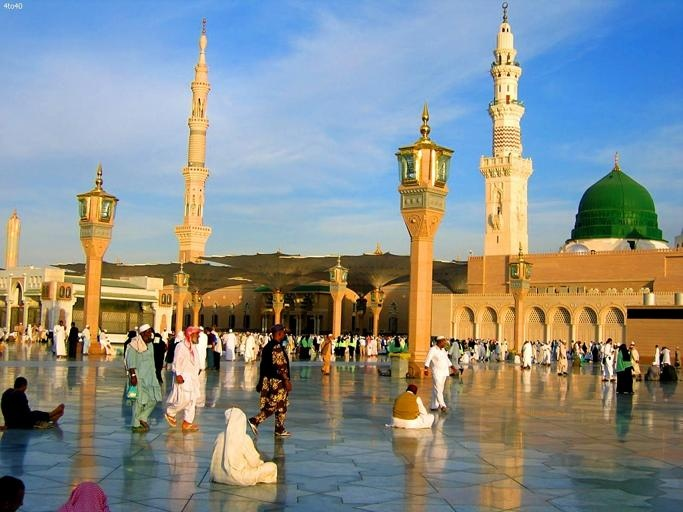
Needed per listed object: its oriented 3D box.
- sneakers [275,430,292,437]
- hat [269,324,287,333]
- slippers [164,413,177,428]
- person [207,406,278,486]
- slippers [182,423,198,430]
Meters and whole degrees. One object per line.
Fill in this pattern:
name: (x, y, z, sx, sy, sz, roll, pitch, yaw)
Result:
sneakers: (-0.751, 2.254, 10.425, 0.198, 0.121, 0.071, -1, -2, -4)
hat: (-0.817, 0.954, 10.554, 0.147, 0.050, 0.128, -10, 6, -13)
slippers: (-2.350, 2.180, 11.154, 0.117, 0.117, 0.301, 15, 30, -35)
person: (-0.998, 1.911, 8.272, 0.682, 0.757, 0.360, 1, -7, -7)
slippers: (-1.998, 2.223, 10.736, 0.198, 0.080, 0.098, 0, 0, -21)
